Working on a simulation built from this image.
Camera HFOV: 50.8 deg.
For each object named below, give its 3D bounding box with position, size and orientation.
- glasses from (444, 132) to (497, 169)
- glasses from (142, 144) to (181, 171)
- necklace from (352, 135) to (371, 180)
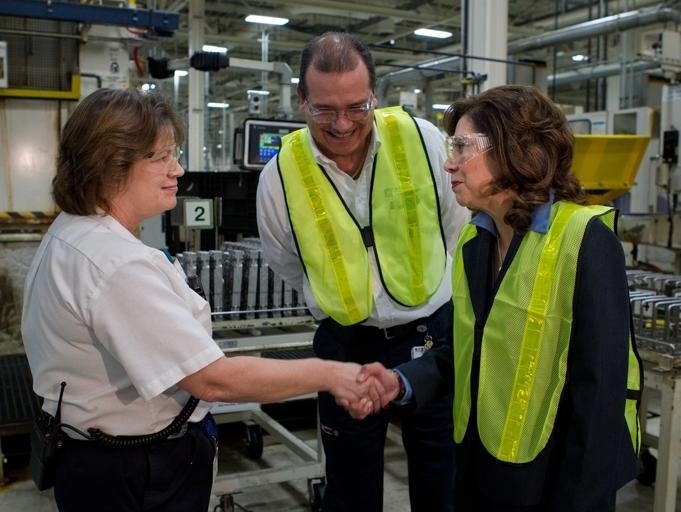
[{"bbox_3d":[0.426,-0.357,2.406,0.097,0.057,0.103,-8,-6,-29],"label":"glasses"},{"bbox_3d":[-0.579,-0.314,2.296,0.106,0.046,0.084,-6,4,29],"label":"glasses"},{"bbox_3d":[0.107,-0.379,2.822,0.033,0.149,0.101,23,-5,-11],"label":"necklace"}]
